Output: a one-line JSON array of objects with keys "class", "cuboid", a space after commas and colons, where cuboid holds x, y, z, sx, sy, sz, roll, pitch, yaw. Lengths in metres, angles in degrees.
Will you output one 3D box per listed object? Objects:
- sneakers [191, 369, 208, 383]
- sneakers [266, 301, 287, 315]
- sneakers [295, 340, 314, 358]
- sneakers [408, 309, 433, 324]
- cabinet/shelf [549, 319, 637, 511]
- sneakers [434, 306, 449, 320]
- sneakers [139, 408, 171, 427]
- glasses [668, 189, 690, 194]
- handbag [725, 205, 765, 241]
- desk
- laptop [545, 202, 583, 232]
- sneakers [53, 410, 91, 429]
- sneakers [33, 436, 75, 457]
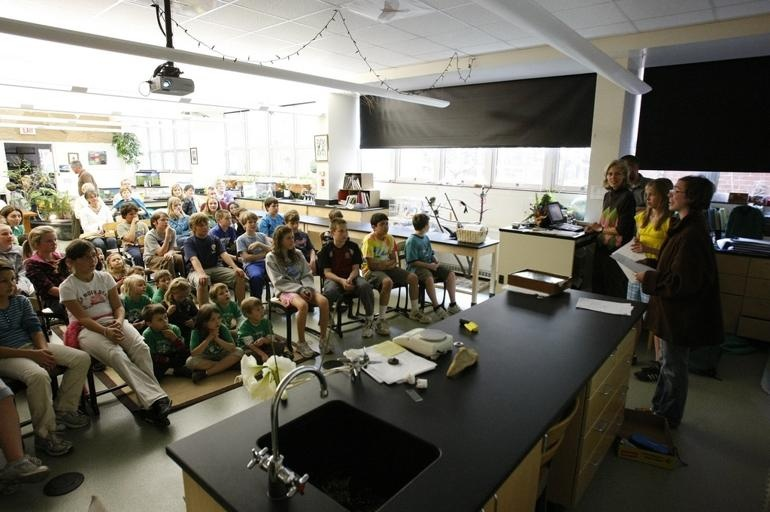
[{"class": "sneakers", "cuboid": [-1.887, 1.216, 5.027, 0.135, 0.129, 0.046, 27, -42, -30]}, {"class": "sneakers", "cuboid": [-1.255, 0.601, 5.733, 0.233, 0.106, 0.161, 14, 20, 43]}, {"class": "sneakers", "cuboid": [-0.880, 1.037, 5.417, 0.115, 0.089, 0.230, -5, 5, -39]}, {"class": "sneakers", "cuboid": [0.445, 0.777, 6.280, 0.275, 0.115, 0.129, 7, 10, 25]}, {"class": "cabinet/shelf", "cuboid": [1.575, 1.240, 3.825, 0.551, 0.990, 1.101, 16, 34, 34]}, {"class": "sneakers", "cuboid": [0.715, 0.729, 6.349, 0.100, 0.083, 0.176, -16, 14, -23]}, {"class": "sneakers", "cuboid": [-2.090, 1.476, 4.528, 0.348, 0.114, 0.147, 11, -2, 2]}, {"class": "glasses", "cuboid": [2.578, -0.565, 4.355, 0.109, 0.031, 0.106, 1, 7, -9]}, {"class": "handbag", "cuboid": [4.479, -0.413, 6.181, 0.339, 0.519, 0.452, 5, 16, 43]}, {"class": "desk", "cuboid": [2.238, -0.268, 6.719, 0.918, 1.091, 1.228, 8, 12, 42]}, {"class": "laptop", "cuboid": [2.355, -0.499, 6.681, 0.430, 0.315, 0.533, 11, 15, 37]}, {"class": "sneakers", "cuboid": [-2.794, 1.473, 4.481, 0.312, 0.141, 0.121, 4, 16, -23]}, {"class": "sneakers", "cuboid": [-2.814, 1.630, 4.307, 0.355, 0.164, 0.137, 6, 8, 2]}]
